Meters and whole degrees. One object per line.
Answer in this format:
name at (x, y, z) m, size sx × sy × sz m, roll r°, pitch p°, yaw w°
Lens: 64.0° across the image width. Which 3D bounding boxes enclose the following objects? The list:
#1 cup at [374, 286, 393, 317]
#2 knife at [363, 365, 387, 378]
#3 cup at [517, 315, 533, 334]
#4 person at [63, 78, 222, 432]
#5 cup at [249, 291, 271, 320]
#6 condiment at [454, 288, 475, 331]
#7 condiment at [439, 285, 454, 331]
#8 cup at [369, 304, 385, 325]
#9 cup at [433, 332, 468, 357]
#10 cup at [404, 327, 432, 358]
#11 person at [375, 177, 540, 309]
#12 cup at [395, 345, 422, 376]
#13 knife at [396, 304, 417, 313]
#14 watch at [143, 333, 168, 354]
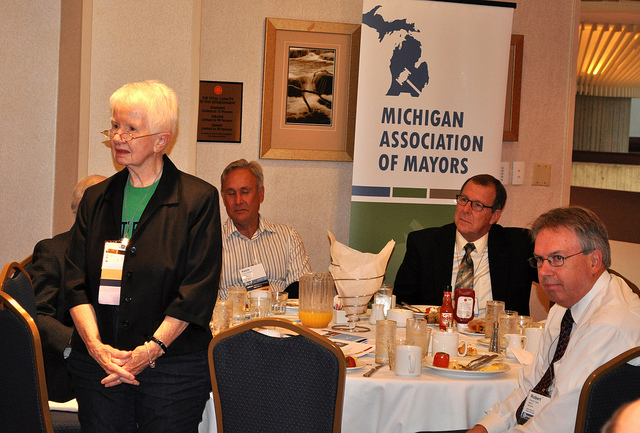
cup at (0.381, 0.523, 3.084) m, size 0.146 × 0.237 × 0.148 m, roll -1°, pitch 3°, yaw 0°
knife at (0.232, 0.716, 2.343) m, size 0.025 × 0.008 × 0.153 m, roll 18°, pitch 8°, yaw 19°
cup at (1.165, 0.615, 2.910) m, size 0.096 × 0.096 × 0.083 m, roll 0°, pitch 4°, yaw 18°
person at (-0.795, 0.200, 2.289) m, size 0.687 × 1.637 × 0.432 m, roll 0°, pitch 4°, yaw -18°
cup at (-0.348, 0.513, 2.925) m, size 0.142 × 0.154 × 0.134 m, roll 1°, pitch -1°, yaw 0°
condiment at (0.873, 0.554, 3.075) m, size 0.133 × 0.233 × 0.106 m, roll 1°, pitch 4°, yaw 0°
condiment at (0.725, 0.528, 2.943) m, size 0.069 × 0.231 × 0.149 m, roll 3°, pitch 4°, yaw 14°
cup at (0.332, 0.577, 2.999) m, size 0.082 × 0.109 × 0.108 m, roll 1°, pitch -7°, yaw 2°
cup at (0.645, 0.648, 2.579) m, size 0.161 × 0.120 × 0.104 m, roll 2°, pitch -1°, yaw 2°
cup at (0.503, 0.633, 2.589) m, size 0.106 × 0.159 × 0.165 m, roll 2°, pitch 6°, yaw 25°
person at (0.968, 0.206, 3.869) m, size 0.935 × 1.426 × 0.417 m, roll 7°, pitch -10°, yaw 14°
cup at (0.399, 0.661, 2.324) m, size 0.104 × 0.105 × 0.141 m, roll 2°, pitch 3°, yaw 6°
knife at (0.553, 0.599, 3.322) m, size 0.126 × 0.014 × 0.015 m, roll 20°, pitch 0°, yaw 28°
watch at (-0.719, 0.557, 2.211) m, size 0.117 × 0.082 × 0.058 m, roll 3°, pitch 4°, yaw 23°
